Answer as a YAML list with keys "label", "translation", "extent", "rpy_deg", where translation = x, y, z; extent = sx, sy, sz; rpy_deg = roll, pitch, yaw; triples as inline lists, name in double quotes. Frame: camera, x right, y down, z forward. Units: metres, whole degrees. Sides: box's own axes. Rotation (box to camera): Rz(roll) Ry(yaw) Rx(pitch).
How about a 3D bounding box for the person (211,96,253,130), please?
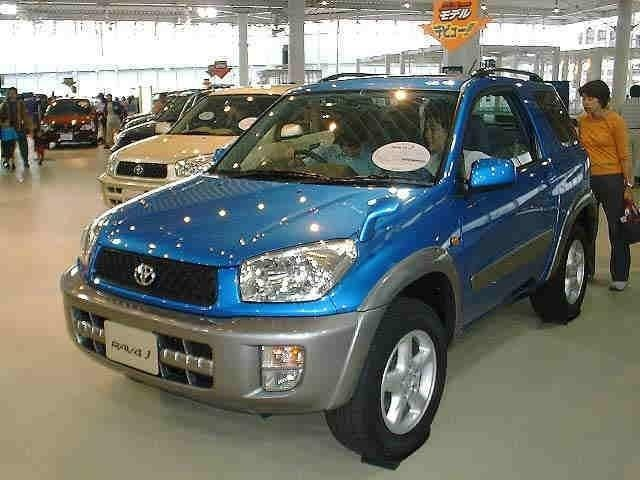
- label: "person"
  translation: [-1.392, -2.048, 7.516]
  extent: [0.517, 0.350, 0.802]
  rpy_deg: [3, 26, 5]

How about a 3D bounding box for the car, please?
- label: "car"
  translation: [0.400, 0.012, 3.258]
  extent: [2.101, 1.536, 3.413]
  rpy_deg: [9, 15, 41]

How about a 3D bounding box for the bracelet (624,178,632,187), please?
- label: "bracelet"
  translation: [2.867, -0.542, 4.365]
  extent: [0.055, 0.071, 0.019]
  rpy_deg: [0, 19, 13]
